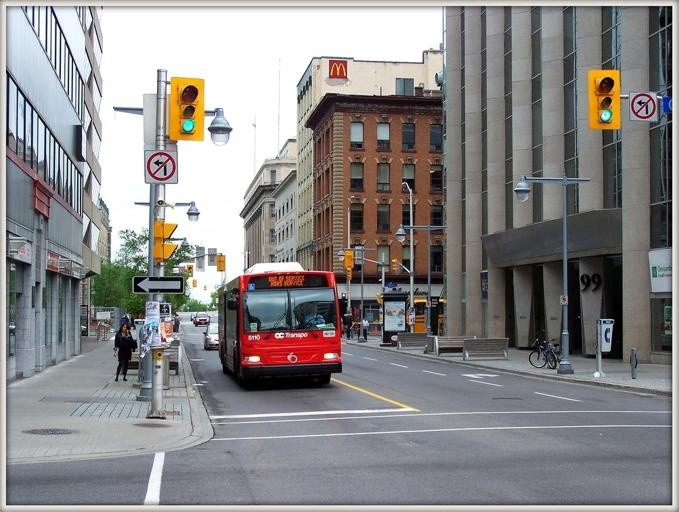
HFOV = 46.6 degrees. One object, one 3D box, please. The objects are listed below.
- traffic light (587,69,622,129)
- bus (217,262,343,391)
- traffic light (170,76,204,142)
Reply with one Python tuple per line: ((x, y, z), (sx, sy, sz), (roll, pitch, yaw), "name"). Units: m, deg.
((6.582, -3.901, 19.590), (0.722, 1.387, 0.508), (0, -1, 13), "traffic light")
((-1.888, 2.028, 25.559), (2.529, 3.401, 7.459), (0, -3, -12), "bus")
((-3.643, -3.484, 18.774), (0.810, 1.496, 0.307), (0, -1, -5), "traffic light")
